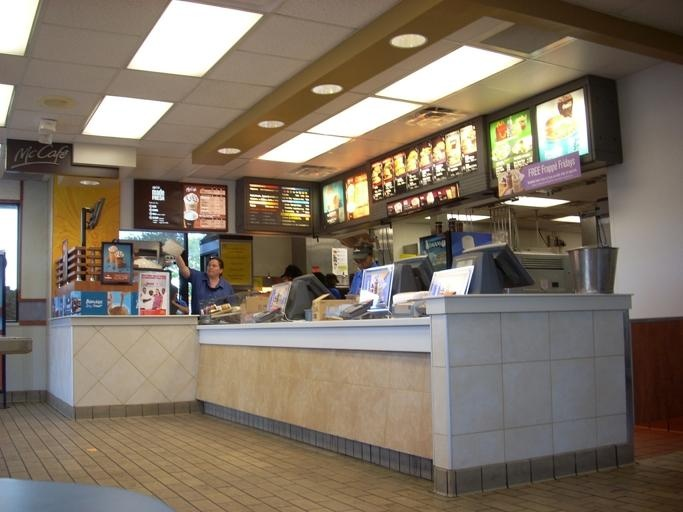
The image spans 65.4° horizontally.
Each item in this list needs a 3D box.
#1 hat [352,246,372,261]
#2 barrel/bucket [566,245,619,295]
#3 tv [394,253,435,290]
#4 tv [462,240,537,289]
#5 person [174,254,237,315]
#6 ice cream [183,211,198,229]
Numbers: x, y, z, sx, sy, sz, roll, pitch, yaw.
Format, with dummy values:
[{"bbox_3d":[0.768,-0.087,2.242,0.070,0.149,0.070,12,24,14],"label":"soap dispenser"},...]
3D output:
[{"bbox_3d":[0.224,-0.017,5.513,0.189,0.169,0.172,-1,-7,-2],"label":"hat"},{"bbox_3d":[1.955,0.122,4.181,0.365,0.285,0.350,1,-15,0],"label":"barrel/bucket"},{"bbox_3d":[0.602,0.142,4.374,0.297,0.317,0.336,-3,-7,8],"label":"tv"},{"bbox_3d":[1.095,0.086,3.772,0.323,0.375,0.537,-1,-7,-29],"label":"tv"},{"bbox_3d":[-1.797,0.386,6.940,0.714,0.739,1.835,0,-7,-13],"label":"person"},{"bbox_3d":[-2.424,-0.586,8.665,0.247,0.216,0.244,1,-5,-1],"label":"ice cream"}]
